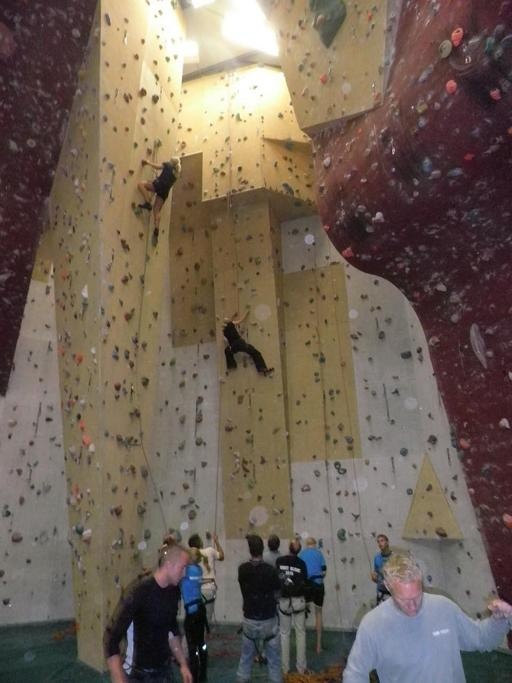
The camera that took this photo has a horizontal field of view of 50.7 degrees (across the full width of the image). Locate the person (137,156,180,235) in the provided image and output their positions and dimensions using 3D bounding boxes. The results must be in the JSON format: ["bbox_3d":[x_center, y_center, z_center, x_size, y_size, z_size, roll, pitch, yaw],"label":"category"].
[{"bbox_3d":[-1.051,-1.536,5.668,0.375,1.012,0.342,14,-45,6],"label":"person"}]

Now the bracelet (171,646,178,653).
[{"bbox_3d":[-0.339,1.256,2.221,0.015,0.024,0.019,-4,-7,7],"label":"bracelet"}]

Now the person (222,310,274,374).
[{"bbox_3d":[-0.210,0.083,6.224,0.450,0.848,0.236,-9,-36,-17],"label":"person"}]
